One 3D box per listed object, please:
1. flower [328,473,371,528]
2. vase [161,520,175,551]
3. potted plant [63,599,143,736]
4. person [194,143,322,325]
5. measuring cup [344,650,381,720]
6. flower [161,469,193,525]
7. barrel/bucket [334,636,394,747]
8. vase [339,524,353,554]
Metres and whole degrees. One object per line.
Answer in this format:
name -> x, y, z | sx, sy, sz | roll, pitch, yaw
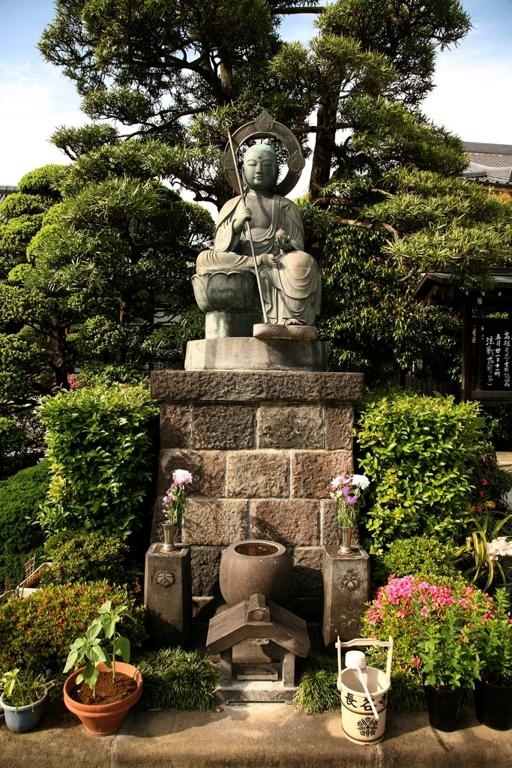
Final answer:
flower -> 0.507, 0.645, 3.944 | 0.309, 0.383, 0.319 | 1, -2, -4
vase -> -0.483, 0.829, 3.836 | 0.074, 0.153, 0.115 | 2, -2, -8
potted plant -> -0.698, 1.283, 3.224 | 0.359, 0.593, 0.555 | 2, -2, -11
person -> -0.013, -1.002, 5.105 | 1.010, 1.741, 0.865 | 0, 12, -7
measuring cup -> 0.471, 1.333, 3.169 | 0.146, 0.280, 0.271 | 2, -2, 2
flower -> -0.456, 0.668, 4.052 | 0.183, 0.367, 0.481 | 2, -2, -7
barrel/bucket -> 0.475, 1.346, 3.194 | 0.270, 0.445, 0.444 | 1, 19, 3
vase -> 0.489, 0.852, 3.831 | 0.065, 0.147, 0.075 | 2, -2, 6
